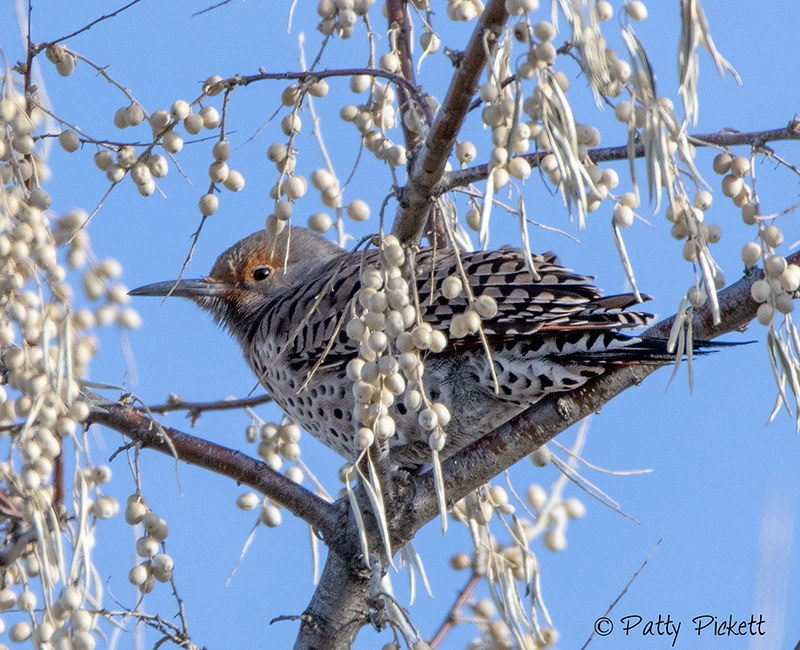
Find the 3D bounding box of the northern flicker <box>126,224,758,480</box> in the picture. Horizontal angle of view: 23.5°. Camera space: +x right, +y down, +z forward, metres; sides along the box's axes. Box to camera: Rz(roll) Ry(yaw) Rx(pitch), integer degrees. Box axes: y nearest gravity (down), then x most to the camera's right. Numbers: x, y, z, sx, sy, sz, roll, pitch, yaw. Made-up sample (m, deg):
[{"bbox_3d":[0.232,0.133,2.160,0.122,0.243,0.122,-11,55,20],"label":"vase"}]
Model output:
[{"bbox_3d":[0.147,0.065,6.613,2.118,1.055,0.670,-12,-23,11],"label":"northern flicker"}]
